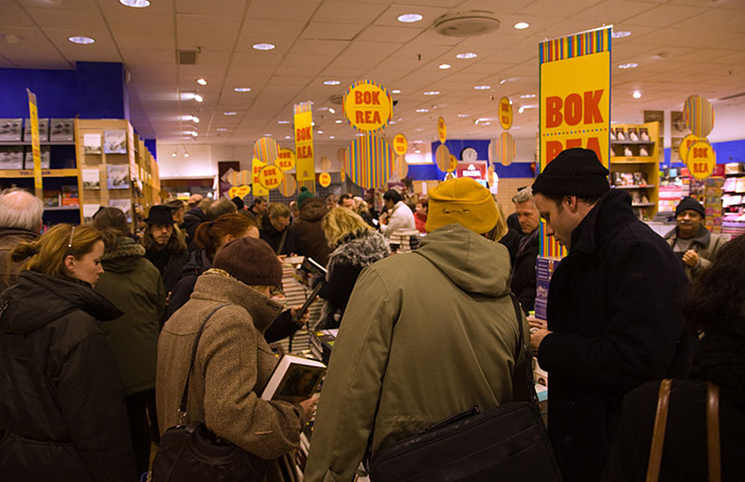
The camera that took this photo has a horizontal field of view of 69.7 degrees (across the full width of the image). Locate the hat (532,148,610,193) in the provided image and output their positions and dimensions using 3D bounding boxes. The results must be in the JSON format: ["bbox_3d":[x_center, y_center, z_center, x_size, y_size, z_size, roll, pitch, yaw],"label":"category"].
[{"bbox_3d":[1.115,-0.357,2.867,0.438,0.266,0.353,12,11,24],"label":"hat"}]

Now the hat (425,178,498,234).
[{"bbox_3d":[0.441,-0.148,2.565,0.308,0.185,0.246,0,31,19],"label":"hat"}]

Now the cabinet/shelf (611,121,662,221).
[{"bbox_3d":[5.450,-1.452,11.348,1.079,1.956,0.636,1,5,11],"label":"cabinet/shelf"}]

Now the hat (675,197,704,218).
[{"bbox_3d":[3.310,-0.361,5.563,0.215,0.195,0.226,-3,9,6],"label":"hat"}]

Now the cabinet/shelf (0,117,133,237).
[{"bbox_3d":[-3.957,-0.905,6.989,1.811,1.679,0.592,-1,-5,-5],"label":"cabinet/shelf"}]

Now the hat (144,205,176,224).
[{"bbox_3d":[-2.186,-0.271,5.558,0.353,0.168,0.448,-3,10,-22],"label":"hat"}]

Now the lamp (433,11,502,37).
[{"bbox_3d":[1.332,-3.021,7.503,0.966,0.153,0.656,0,7,9],"label":"lamp"}]

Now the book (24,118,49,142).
[{"bbox_3d":[-5.002,-1.613,7.981,0.094,0.402,0.411,-4,-1,27],"label":"book"}]

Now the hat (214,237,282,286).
[{"bbox_3d":[-0.644,0.097,2.888,0.306,0.204,0.213,10,15,-3],"label":"hat"}]
